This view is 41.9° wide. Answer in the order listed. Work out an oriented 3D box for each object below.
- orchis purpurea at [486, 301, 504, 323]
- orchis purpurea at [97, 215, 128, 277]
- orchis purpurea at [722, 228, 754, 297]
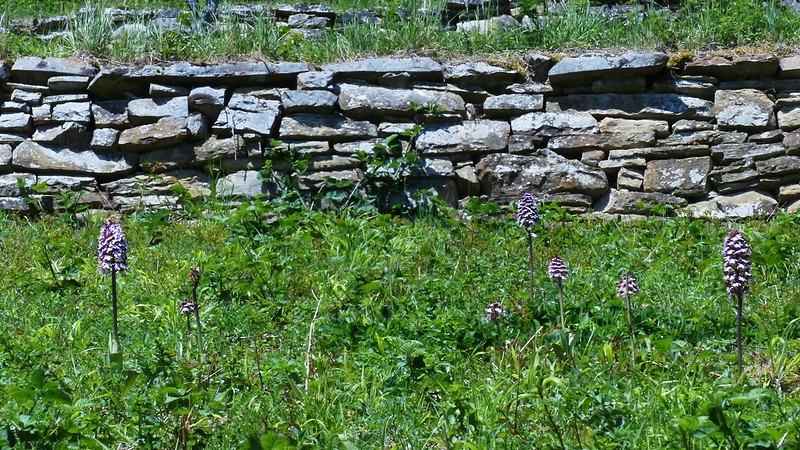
[{"bbox_3d":[0.871,0.819,9.755,0.193,0.199,0.198,-4,14,12],"label":"orchis purpurea"},{"bbox_3d":[-2.658,0.214,9.580,0.267,0.480,0.302,-10,25,-15],"label":"orchis purpurea"},{"bbox_3d":[3.028,0.374,9.399,0.237,0.635,0.319,4,25,16],"label":"orchis purpurea"}]
